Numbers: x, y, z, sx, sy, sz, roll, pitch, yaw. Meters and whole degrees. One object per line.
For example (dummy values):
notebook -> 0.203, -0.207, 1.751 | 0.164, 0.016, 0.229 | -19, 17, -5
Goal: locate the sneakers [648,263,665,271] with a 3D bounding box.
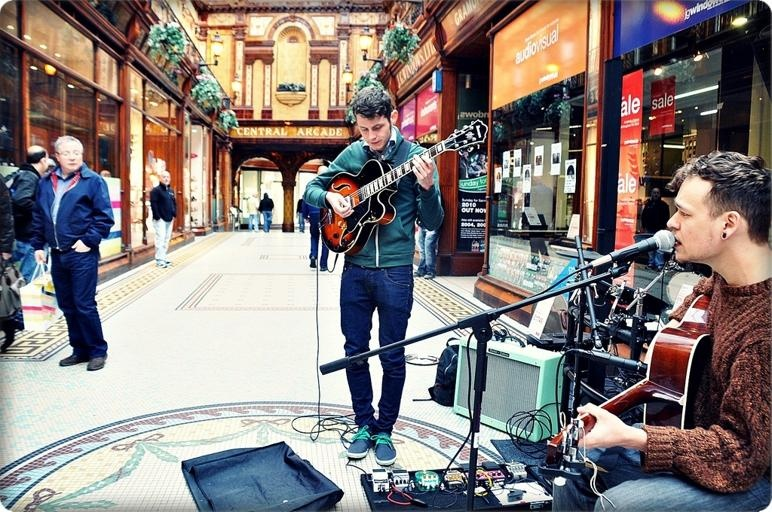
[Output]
sneakers -> 2.212, 0.085, 4.473 | 0.052, 0.067, 0.156 | -8, -6, -17

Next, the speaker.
speaker -> 0.939, 1.022, 4.137 | 0.966, 0.906, 0.352 | 5, 5, 40

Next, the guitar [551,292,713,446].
guitar -> 1.317, 0.513, 2.802 | 0.944, 0.467, 0.219 | -29, 20, -22

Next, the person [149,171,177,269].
person -> -4.981, -0.857, 12.206 | 0.511, 2.054, 1.437 | -2, 7, -23

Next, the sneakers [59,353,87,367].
sneakers -> -3.163, 1.041, 5.527 | 0.095, 0.089, 0.224 | 5, -1, 39

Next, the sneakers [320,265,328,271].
sneakers -> -1.282, 0.237, 11.201 | 0.113, 0.080, 0.114 | 0, 0, 5

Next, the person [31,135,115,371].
person -> -3.141, -0.052, 5.511 | 0.796, 2.289, 0.439 | 2, 6, 18

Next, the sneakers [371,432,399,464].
sneakers -> -0.011, 1.392, 3.973 | 0.175, 0.167, 0.223 | 0, 6, 1

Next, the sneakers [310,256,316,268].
sneakers -> -1.585, 0.138, 11.781 | 0.149, 0.132, 0.332 | 6, -34, 3

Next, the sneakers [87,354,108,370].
sneakers -> -2.888, 1.055, 5.456 | 0.165, 0.107, 0.295 | -3, 7, -27

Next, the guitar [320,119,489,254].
guitar -> 0.009, -0.458, 3.919 | 1.369, 0.923, 0.373 | 6, 9, 44

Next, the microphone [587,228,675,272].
microphone -> 1.830, -0.044, 4.059 | 0.645, 0.173, 0.187 | -18, 30, 2

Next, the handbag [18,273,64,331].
handbag -> -3.562, 0.465, 5.630 | 0.239, 0.674, 0.716 | -2, -1, 2
